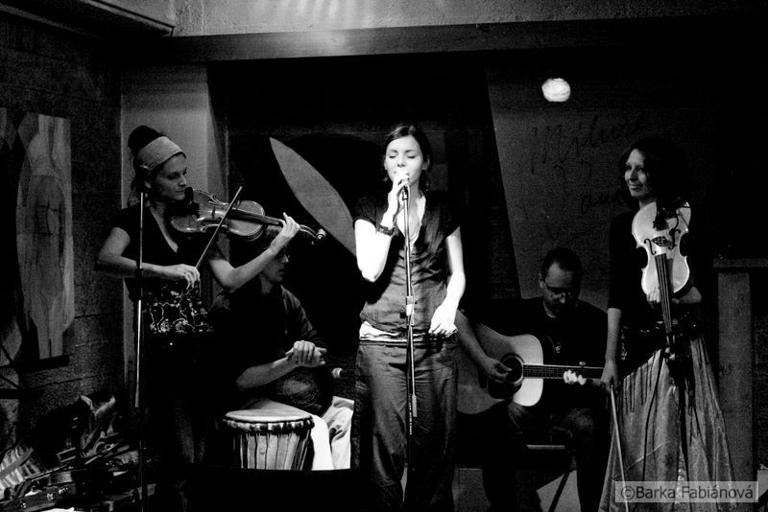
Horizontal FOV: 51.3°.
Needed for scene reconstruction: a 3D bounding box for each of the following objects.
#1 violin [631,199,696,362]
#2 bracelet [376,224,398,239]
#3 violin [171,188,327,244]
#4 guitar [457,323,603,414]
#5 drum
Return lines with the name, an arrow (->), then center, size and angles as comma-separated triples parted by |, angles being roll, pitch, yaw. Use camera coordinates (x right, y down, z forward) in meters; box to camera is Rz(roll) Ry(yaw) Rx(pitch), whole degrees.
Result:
violin -> 2.007, 0.157, 5.753 | 0.424, 1.094, 0.272 | -1, 0, 15
bracelet -> 0.011, -0.184, 5.878 | 0.091, 0.051, 0.109 | 19, -1, 12
violin -> -1.058, -0.228, 6.326 | 1.220, 0.431, 0.287 | 12, -11, 2
guitar -> 1.105, 0.829, 6.049 | 0.199, 0.740, 1.426 | -29, 2, -17
drum -> -0.893, 1.490, 6.313 | 0.636, 0.466, 0.625 | 2, -6, 0
